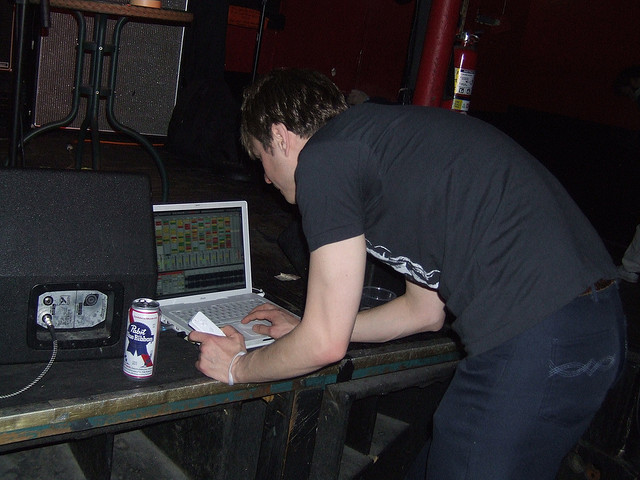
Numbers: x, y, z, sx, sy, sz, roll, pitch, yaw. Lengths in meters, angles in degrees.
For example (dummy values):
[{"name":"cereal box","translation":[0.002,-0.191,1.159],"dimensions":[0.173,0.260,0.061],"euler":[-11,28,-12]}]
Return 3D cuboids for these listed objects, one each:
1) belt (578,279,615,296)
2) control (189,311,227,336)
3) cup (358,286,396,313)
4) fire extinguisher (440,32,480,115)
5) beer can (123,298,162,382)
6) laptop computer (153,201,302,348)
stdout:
[{"name":"belt","translation":[0.597,0.098,1.050],"dimensions":[0.061,0.015,0.047],"euler":[-28,-5,41]},{"name":"control","translation":[-0.298,0.217,1.246],"dimensions":[0.082,0.020,0.047],"euler":[37,39,21]},{"name":"cup","translation":[0.187,0.189,1.614],"dimensions":[0.089,0.080,0.103],"euler":[-2,14,-40]},{"name":"fire extinguisher","translation":[0.764,-0.924,2.651],"dimensions":[0.154,0.428,0.266],"euler":[7,14,18]},{"name":"beer can","translation":[-0.392,0.214,1.067],"dimensions":[0.086,0.170,0.082],"euler":[2,13,-1]},{"name":"laptop computer","translation":[-0.290,0.070,1.374],"dimensions":[0.324,0.305,0.404],"euler":[-4,16,-25]}]
